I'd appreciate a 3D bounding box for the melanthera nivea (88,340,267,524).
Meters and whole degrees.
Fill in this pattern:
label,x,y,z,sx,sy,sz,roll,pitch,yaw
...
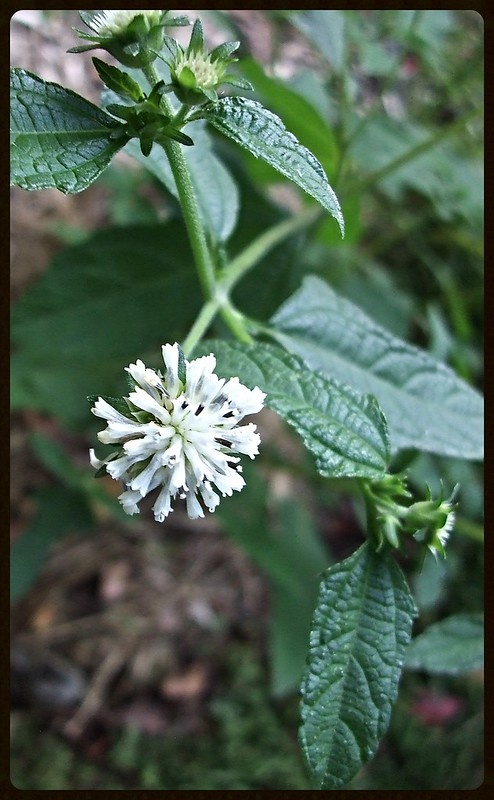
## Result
label,x,y,z,sx,sy,sz,roll,pitch,yaw
melanthera nivea,-0.066,0.014,0.667,0.093,0.167,0.180,-31,-18,17
